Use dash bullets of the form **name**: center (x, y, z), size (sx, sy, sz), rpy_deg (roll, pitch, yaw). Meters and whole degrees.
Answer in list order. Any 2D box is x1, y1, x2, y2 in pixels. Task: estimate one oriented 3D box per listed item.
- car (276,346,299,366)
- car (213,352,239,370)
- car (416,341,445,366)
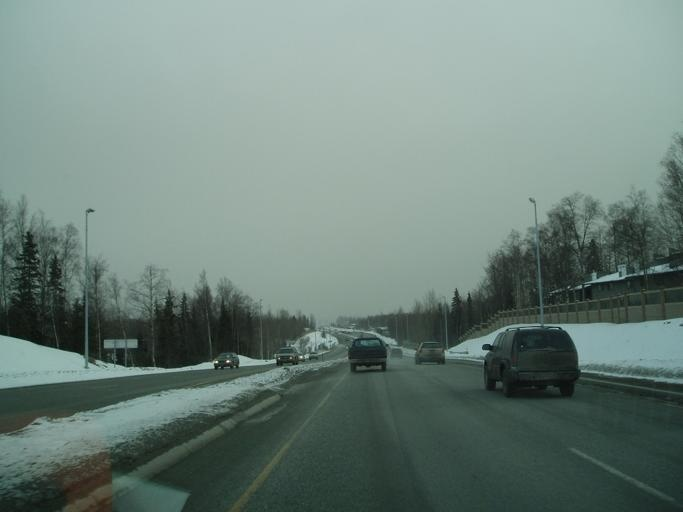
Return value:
- **car**: center (-4.666, 8.620, 75.062), size (1.081, 1.208, 2.477), rpy_deg (-2, -17, 4)
- **car**: center (-9.184, 8.402, 69.002), size (1.050, 0.963, 2.268), rpy_deg (-2, -21, 1)
- **car**: center (5.964, 6.549, 57.398), size (1.306, 1.280, 2.896), rpy_deg (0, -6, 4)
